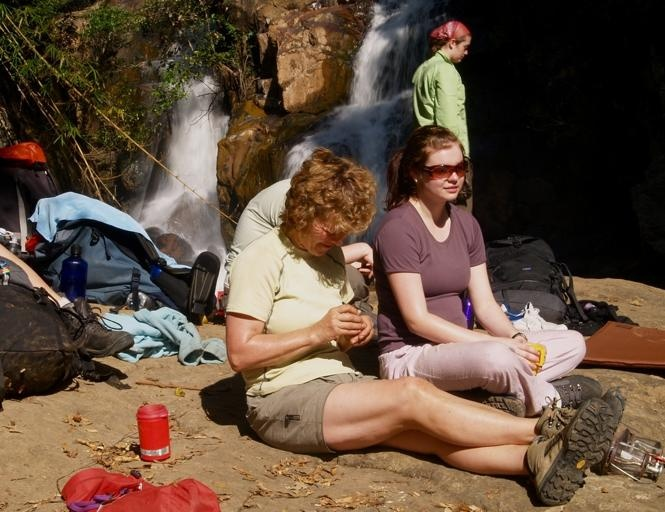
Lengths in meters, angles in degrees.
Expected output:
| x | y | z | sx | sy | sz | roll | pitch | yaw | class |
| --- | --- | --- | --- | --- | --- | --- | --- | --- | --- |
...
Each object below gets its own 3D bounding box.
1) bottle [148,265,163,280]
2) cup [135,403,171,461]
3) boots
| x | y | z | sx | sy | sz | roll | pitch | yaw | class |
| --- | --- | --- | --- | --- | --- | --- | --- | --- | --- |
| -1.834 | 0.172 | 6.889 | 0.177 | 0.143 | 0.073 | 8 | 13 | 35 | bottle |
| -1.043 | 1.012 | 3.912 | 0.181 | 0.327 | 0.195 | 1 | 11 | 0 | cup |
| -1.712 | 0.516 | 4.842 | 0.615 | 0.398 | 0.277 | 0 | 18 | 28 | boots |
